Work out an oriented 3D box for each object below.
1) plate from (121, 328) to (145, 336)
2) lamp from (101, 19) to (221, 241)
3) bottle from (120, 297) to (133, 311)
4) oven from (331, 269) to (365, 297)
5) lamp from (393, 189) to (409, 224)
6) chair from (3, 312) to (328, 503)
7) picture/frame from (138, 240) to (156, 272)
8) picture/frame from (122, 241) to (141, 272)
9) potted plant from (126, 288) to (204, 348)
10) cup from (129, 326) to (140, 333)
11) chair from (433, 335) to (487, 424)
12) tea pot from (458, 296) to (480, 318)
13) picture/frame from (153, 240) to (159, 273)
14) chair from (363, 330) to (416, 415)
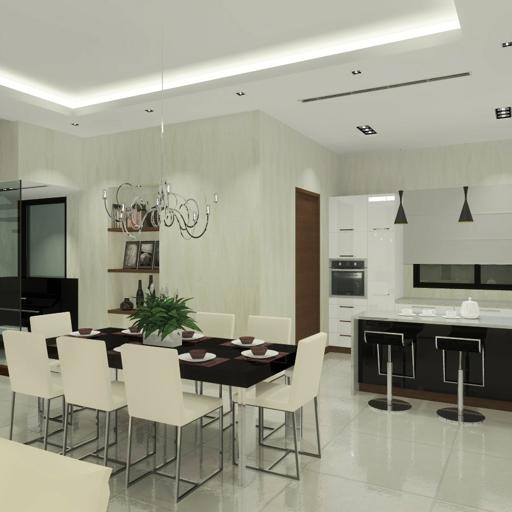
[{"bbox_3d":[-1.026,0.639,3.922,0.145,0.012,0.156,1,0,9],"label":"plate"},{"bbox_3d":[-1.038,-1.486,5.375,1.222,2.520,1.328,4,11,-42],"label":"lamp"},{"bbox_3d":[-1.652,0.615,5.985,0.163,0.142,0.147,1,2,-38],"label":"bottle"},{"bbox_3d":[1.333,0.389,6.676,0.617,0.419,0.334,-1,-3,29],"label":"oven"},{"bbox_3d":[1.952,-0.680,6.325,0.159,0.519,0.838,0,1,17],"label":"lamp"},{"bbox_3d":[-0.263,1.002,3.339,1.347,0.926,1.120,0,1,36],"label":"chair"},{"bbox_3d":[-1.380,0.015,5.946,0.399,0.466,0.047,-2,-6,30],"label":"picture/frame"},{"bbox_3d":[-1.609,0.017,6.083,0.397,0.505,0.039,-3,-11,28],"label":"picture/frame"},{"bbox_3d":[-0.692,0.482,3.509,0.434,0.323,0.448,-3,5,-37],"label":"potted plant"},{"bbox_3d":[-1.008,0.621,3.928,0.103,0.058,0.180,0,-3,-17],"label":"cup"},{"bbox_3d":[1.863,1.079,4.260,0.399,0.726,0.518,0,1,23],"label":"chair"},{"bbox_3d":[2.072,0.511,4.604,0.216,0.221,0.210,0,1,0],"label":"tea pot"},{"bbox_3d":[-1.264,-0.016,5.884,0.068,0.347,0.113,0,1,-17],"label":"picture/frame"},{"bbox_3d":[1.281,1.085,4.569,0.450,0.722,0.504,0,1,13],"label":"chair"}]
